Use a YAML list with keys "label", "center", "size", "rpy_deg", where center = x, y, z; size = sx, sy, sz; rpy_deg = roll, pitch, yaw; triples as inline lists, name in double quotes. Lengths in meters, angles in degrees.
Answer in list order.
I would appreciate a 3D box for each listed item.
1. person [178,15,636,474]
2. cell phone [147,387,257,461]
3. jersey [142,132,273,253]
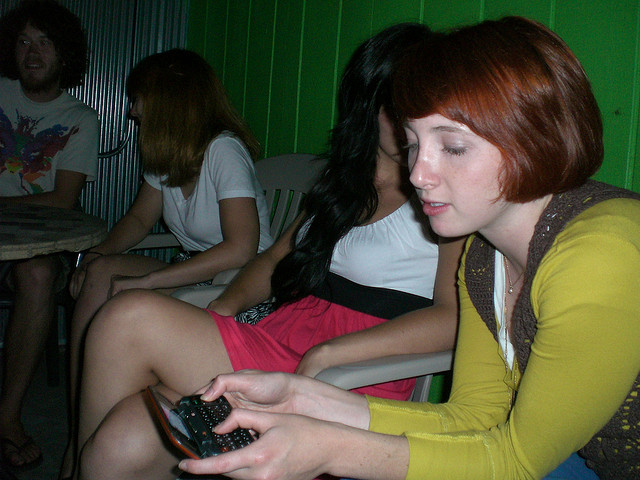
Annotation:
- label: "person"
  center: [0.227, -0.001, 1.034]
  size: [0.699, 0.826, 0.409]
  rpy_deg: [2, 16, -2]
- label: "cell phone"
  center: [-0.229, 0.342, 1.032]
  size: [0.149, 0.060, 0.203]
  rpy_deg: [2, 13, -30]
- label: "jersey"
  center: [-0.396, -0.155, 2.042]
  size: [0.346, 0.535, 0.602]
  rpy_deg: [-7, 9, -40]
